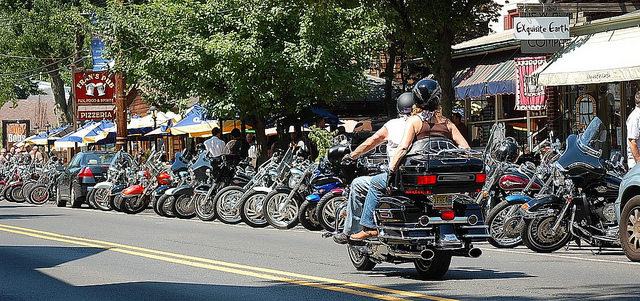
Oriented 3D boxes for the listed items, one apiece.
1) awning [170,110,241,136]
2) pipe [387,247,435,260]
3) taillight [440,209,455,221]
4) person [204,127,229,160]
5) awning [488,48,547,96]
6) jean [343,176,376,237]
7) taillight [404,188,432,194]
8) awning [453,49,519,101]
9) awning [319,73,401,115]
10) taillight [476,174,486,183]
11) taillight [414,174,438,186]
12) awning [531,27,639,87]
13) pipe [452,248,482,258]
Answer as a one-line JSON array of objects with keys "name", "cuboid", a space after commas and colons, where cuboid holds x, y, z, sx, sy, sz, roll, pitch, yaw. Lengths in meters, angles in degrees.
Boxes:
[{"name": "awning", "cuboid": [-6.193, -1.620, 38.445, 2.380, 1.361, 3.591, 4, 10, 34]}, {"name": "pipe", "cuboid": [2.317, 2.649, 17.942, 1.393, 0.290, 0.232, 0, 10, 31]}, {"name": "taillight", "cuboid": [3.224, 1.667, 17.791, 0.343, 0.260, 0.140, 0, 10, 7]}, {"name": "person", "cuboid": [-4.103, -0.293, 28.159, 1.017, 1.289, 0.797, 12, 31, 16]}, {"name": "awning", "cuboid": [8.367, -3.395, 30.629, 2.525, 1.256, 2.437, 0, 4, 30]}, {"name": "jean", "cuboid": [0.938, 1.421, 18.498, 1.153, 1.306, 0.557, 8, 0, 22]}, {"name": "taillight", "cuboid": [2.494, 1.026, 17.762, 0.689, 0.147, 0.147, 0, 9, 8]}, {"name": "awning", "cuboid": [7.897, -3.424, 31.496, 1.729, 1.407, 3.342, -21, 10, -32]}, {"name": "awning", "cuboid": [2.825, -2.866, 41.226, 5.648, 1.251, 3.139, -2, 41, 5]}, {"name": "taillight", "cuboid": [4.081, 0.728, 17.828, 0.257, 0.229, 0.054, -6, 11, -29]}, {"name": "taillight", "cuboid": [2.661, 0.755, 17.633, 0.388, 0.193, 0.366, 2, -3, -39]}, {"name": "awning", "cuboid": [10.373, -3.553, 26.457, 3.610, 2.080, 1.941, 7, 12, 43]}, {"name": "pipe", "cuboid": [3.734, 2.608, 17.795, 1.069, 0.229, 0.190, -6, 23, 48]}]
